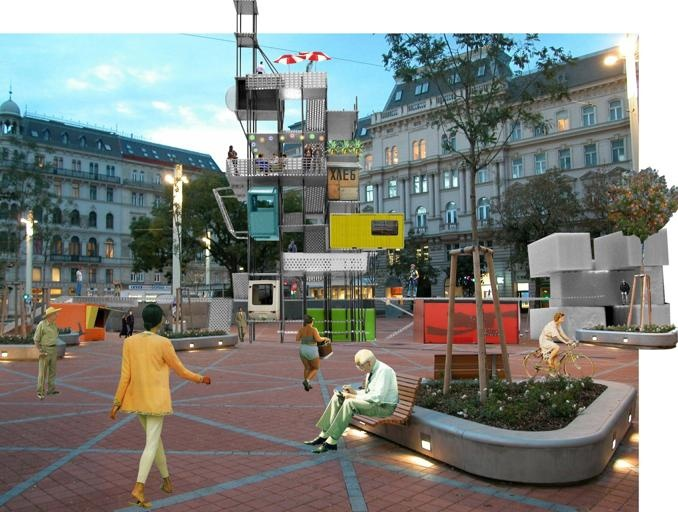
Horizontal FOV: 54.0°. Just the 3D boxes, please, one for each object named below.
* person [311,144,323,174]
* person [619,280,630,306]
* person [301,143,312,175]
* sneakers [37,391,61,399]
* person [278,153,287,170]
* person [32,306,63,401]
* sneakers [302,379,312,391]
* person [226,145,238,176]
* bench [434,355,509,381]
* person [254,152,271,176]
[{"bbox_3d":[-1.028,-4.722,32.755,0.628,1.493,0.870,-2,1,-2],"label":"person"},{"bbox_3d":[12.607,1.579,29.165,0.379,1.024,1.078,-1,1,23],"label":"person"},{"bbox_3d":[-1.496,-4.798,32.723,0.485,1.490,1.087,-2,1,-3],"label":"person"},{"bbox_3d":[-6.993,3.292,16.081,0.413,0.196,0.147,-8,3,-1],"label":"sneakers"},{"bbox_3d":[-2.711,-4.546,32.218,0.482,0.915,0.975,-2,1,-5],"label":"person"},{"bbox_3d":[-7.065,2.283,16.075,0.493,1.446,0.944,-2,1,-26],"label":"person"},{"bbox_3d":[-0.787,3.199,16.548,0.114,0.346,0.229,-2,40,31],"label":"sneakers"},{"bbox_3d":[-5.116,-4.652,32.270,0.441,1.473,0.805,-2,1,-10],"label":"person"},{"bbox_3d":[2.688,2.274,13.690,0.871,0.290,0.329,2,36,1],"label":"bench"},{"bbox_3d":[-3.592,-4.405,32.222,0.687,1.049,0.362,-4,-8,9],"label":"person"}]
